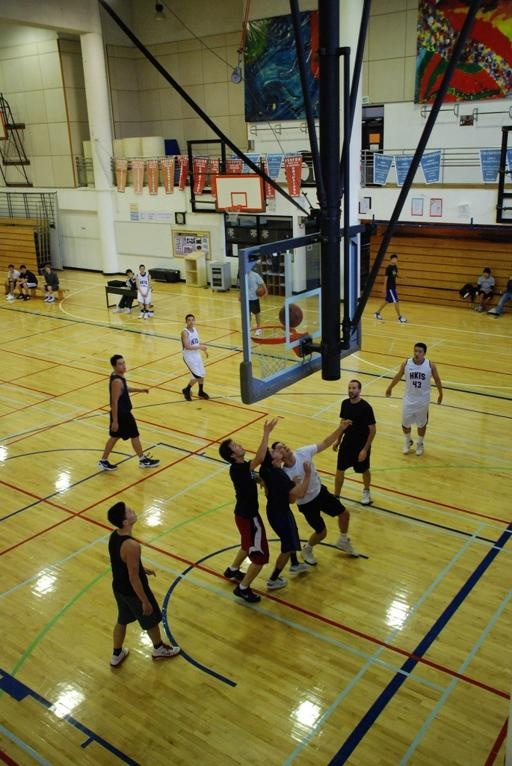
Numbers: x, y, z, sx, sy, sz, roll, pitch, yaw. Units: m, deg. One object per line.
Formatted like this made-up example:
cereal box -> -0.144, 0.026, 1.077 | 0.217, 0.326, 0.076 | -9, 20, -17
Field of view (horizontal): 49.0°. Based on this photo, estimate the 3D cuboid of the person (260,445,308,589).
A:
person -> 0.263, 1.223, 4.974 | 0.421, 1.439, 0.513 | -3, 16, 0

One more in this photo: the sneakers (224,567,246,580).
sneakers -> -0.179, 1.806, 5.422 | 0.245, 0.104, 0.089 | -6, 22, -23

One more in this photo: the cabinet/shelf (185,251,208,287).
cabinet/shelf -> -2.098, -3.958, 19.508 | 0.757, 1.216, 0.563 | 1, 17, 12

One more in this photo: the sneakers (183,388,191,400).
sneakers -> -1.252, 0.192, 10.231 | 0.060, 0.176, 0.125 | -17, -14, -31

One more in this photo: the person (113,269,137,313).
person -> -3.826, -2.739, 16.619 | 0.635, 1.264, 1.548 | -7, 17, -12

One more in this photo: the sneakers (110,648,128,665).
sneakers -> -1.047, 2.114, 4.362 | 0.060, 0.074, 0.178 | 6, 23, 15

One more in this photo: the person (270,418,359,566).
person -> 0.601, 1.051, 5.174 | 0.768, 1.363, 0.403 | -18, 22, -16

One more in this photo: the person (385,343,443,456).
person -> 2.125, 0.215, 7.556 | 0.627, 1.688, 1.303 | 2, 17, 17

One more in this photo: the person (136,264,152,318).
person -> -3.150, -2.598, 15.851 | 0.389, 1.482, 1.195 | -6, 17, -11

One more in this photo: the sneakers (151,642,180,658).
sneakers -> -0.702, 2.087, 4.394 | 0.244, 0.139, 0.095 | -4, 34, -7

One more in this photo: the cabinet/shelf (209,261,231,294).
cabinet/shelf -> -1.160, -3.493, 18.466 | 0.704, 1.305, 0.755 | 6, 32, 13

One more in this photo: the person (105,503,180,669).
person -> -0.940, 1.733, 4.685 | 0.595, 1.388, 0.532 | -22, 45, -27

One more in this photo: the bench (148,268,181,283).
bench -> -3.306, -3.938, 20.572 | 1.164, 0.503, 0.405 | 3, 17, 20

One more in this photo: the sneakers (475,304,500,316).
sneakers -> 6.158, -1.981, 15.119 | 0.626, 0.266, 0.216 | 14, 16, 20

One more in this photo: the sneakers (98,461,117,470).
sneakers -> -2.051, 1.143, 7.811 | 0.277, 0.136, 0.106 | 5, 28, -6

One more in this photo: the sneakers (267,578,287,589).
sneakers -> 0.194, 1.844, 5.237 | 0.196, 0.090, 0.077 | -10, 21, -25

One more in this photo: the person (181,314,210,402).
person -> -1.130, -0.479, 10.088 | 0.497, 1.609, 1.201 | -5, 16, -6

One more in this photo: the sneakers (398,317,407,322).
sneakers -> 3.792, -1.664, 14.623 | 0.128, 0.153, 0.222 | -8, 9, -8

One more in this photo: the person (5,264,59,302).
person -> -7.528, -3.375, 18.837 | 2.610, 1.204, 1.073 | 9, 20, 35

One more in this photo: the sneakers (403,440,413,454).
sneakers -> 2.134, 0.899, 7.937 | 0.061, 0.173, 0.118 | 13, -9, 45

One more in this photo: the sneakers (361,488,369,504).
sneakers -> 1.281, 1.334, 6.608 | 0.064, 0.080, 0.191 | 1, 23, 13

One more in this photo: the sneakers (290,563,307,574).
sneakers -> 0.405, 1.785, 5.454 | 0.178, 0.081, 0.076 | -10, 39, -7

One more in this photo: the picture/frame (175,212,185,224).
picture/frame -> -2.613, -5.761, 19.457 | 0.391, 0.396, 0.052 | 10, 16, 31

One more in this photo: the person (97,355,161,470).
person -> -1.991, 0.504, 8.859 | 0.969, 1.741, 0.574 | -6, 52, -13
